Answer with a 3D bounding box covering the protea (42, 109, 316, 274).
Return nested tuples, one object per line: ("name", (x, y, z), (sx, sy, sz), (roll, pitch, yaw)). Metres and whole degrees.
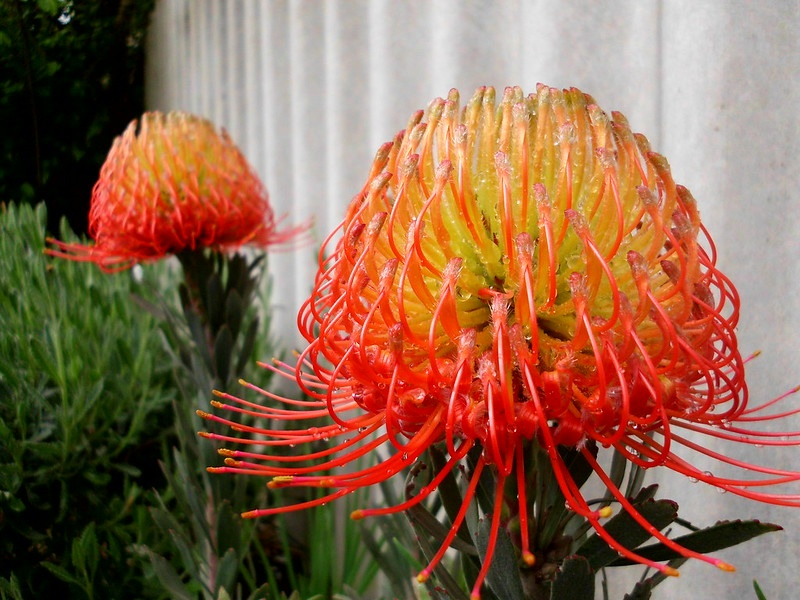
("protea", (-0.433, -0.204, 1.645), (0.360, 0.252, 0.352), (-13, 6, -44))
